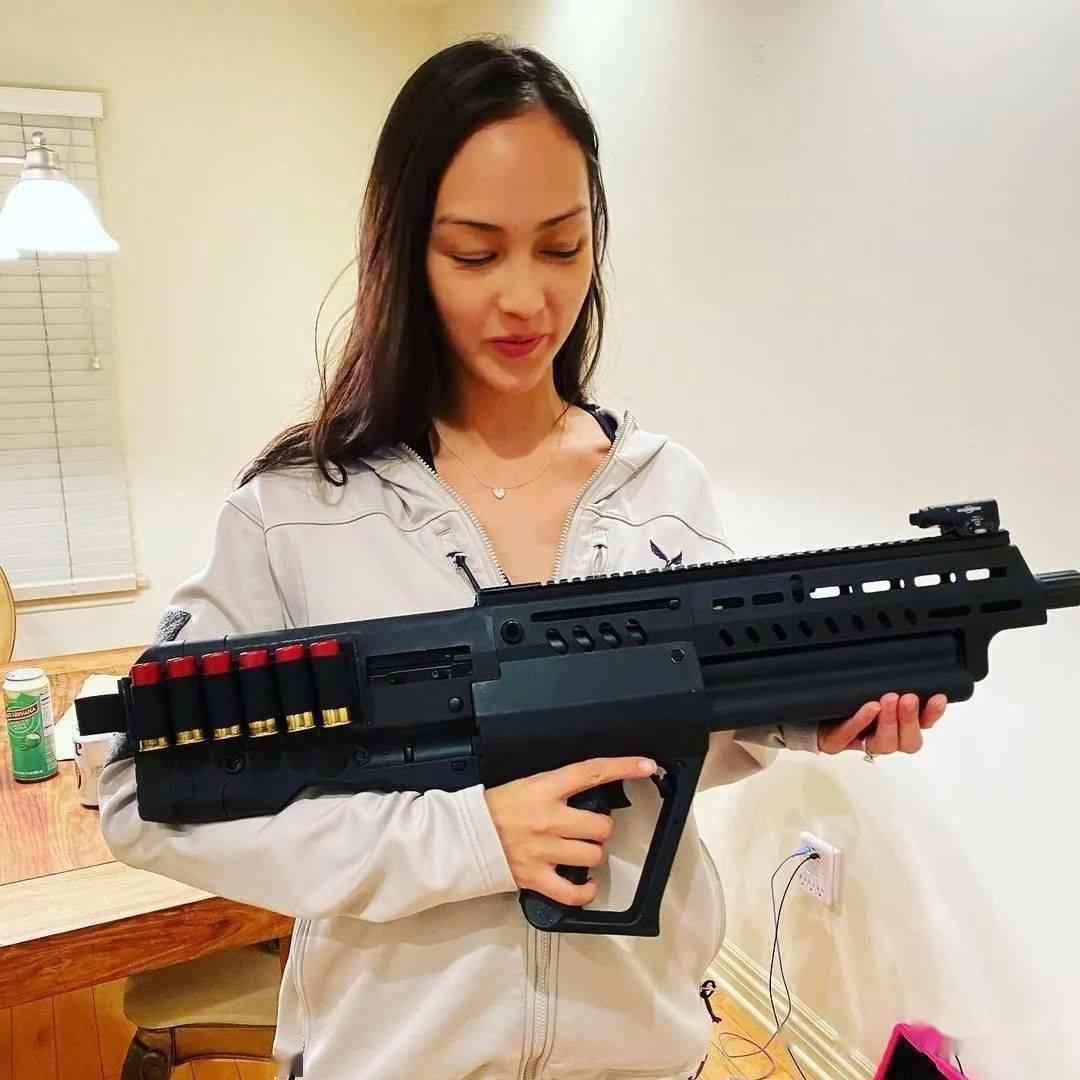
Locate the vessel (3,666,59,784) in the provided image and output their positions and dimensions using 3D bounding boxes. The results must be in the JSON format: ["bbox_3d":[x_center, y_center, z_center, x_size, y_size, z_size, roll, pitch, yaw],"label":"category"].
[{"bbox_3d":[-0.942,0.338,1.906,0.077,0.209,0.154,-6,14,-25],"label":"vessel"}]
